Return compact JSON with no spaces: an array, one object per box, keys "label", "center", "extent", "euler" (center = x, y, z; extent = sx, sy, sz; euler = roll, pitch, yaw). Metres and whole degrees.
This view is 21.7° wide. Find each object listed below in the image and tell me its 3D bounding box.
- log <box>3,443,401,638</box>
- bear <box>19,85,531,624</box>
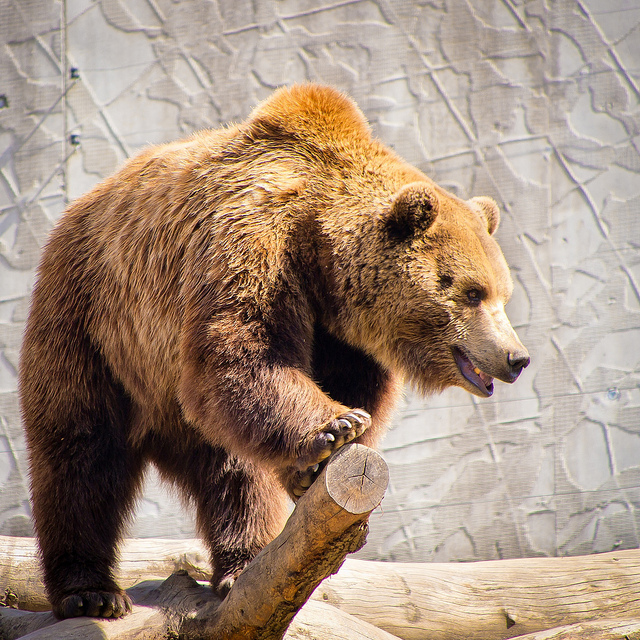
[{"label":"log","center":[-0.322,1.276,8.381],"extent":[1.328,0.450,1.393],"euler":[5,-28,-42]},{"label":"bear","center":[-0.253,0.115,9.285],"extent":[3.284,2.729,1.510],"euler":[-13,-17,37]}]
